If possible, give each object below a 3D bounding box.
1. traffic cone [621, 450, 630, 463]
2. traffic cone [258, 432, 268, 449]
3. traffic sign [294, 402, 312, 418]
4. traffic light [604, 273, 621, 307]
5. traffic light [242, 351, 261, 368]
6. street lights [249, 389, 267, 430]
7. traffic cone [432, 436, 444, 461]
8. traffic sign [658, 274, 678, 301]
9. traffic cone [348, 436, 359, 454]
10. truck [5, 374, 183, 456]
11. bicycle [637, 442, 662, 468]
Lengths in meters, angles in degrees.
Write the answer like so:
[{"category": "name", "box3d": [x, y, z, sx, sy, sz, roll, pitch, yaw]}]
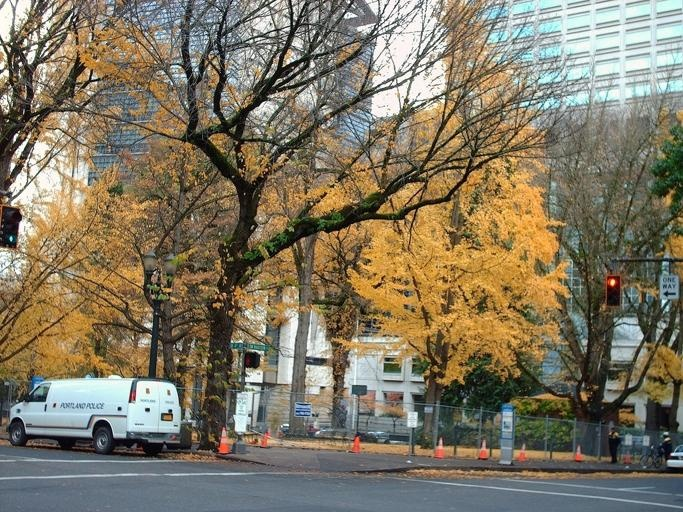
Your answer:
[{"category": "traffic cone", "box3d": [13.517, 9.412, 55.012, 0.472, 0.690, 0.485, -1, -3, -9]}, {"category": "traffic cone", "box3d": [-3.194, 7.639, 48.550, 0.574, 0.699, 0.610, 2, -18, 1]}, {"category": "traffic sign", "box3d": [-1.613, 6.494, 49.722, 0.730, 0.673, 0.108, -4, -23, 9]}, {"category": "traffic light", "box3d": [9.955, 1.189, 42.370, 0.523, 1.201, 0.843, -2, -13, 12]}, {"category": "traffic light", "box3d": [-3.170, 3.682, 41.716, 0.567, 0.736, 0.491, 0, -5, 1]}, {"category": "street lights", "box3d": [-3.593, 6.633, 50.634, 0.912, 1.789, 0.599, 10, -15, -36]}, {"category": "traffic cone", "box3d": [3.953, 7.763, 47.044, 0.586, 0.872, 0.646, -3, -13, 29]}, {"category": "traffic sign", "box3d": [12.764, 1.151, 45.026, 0.682, 1.016, 1.100, -2, -14, 12]}, {"category": "traffic cone", "box3d": [0.640, 7.734, 47.938, 0.540, 0.827, 0.622, 3, -12, 0]}, {"category": "truck", "box3d": [-8.537, 5.358, 41.274, 5.482, 2.263, 2.755, -2, -16, 31]}, {"category": "bicycle", "box3d": [14.800, 9.371, 55.062, 0.907, 1.296, 2.063, 0, -3, 32]}]
